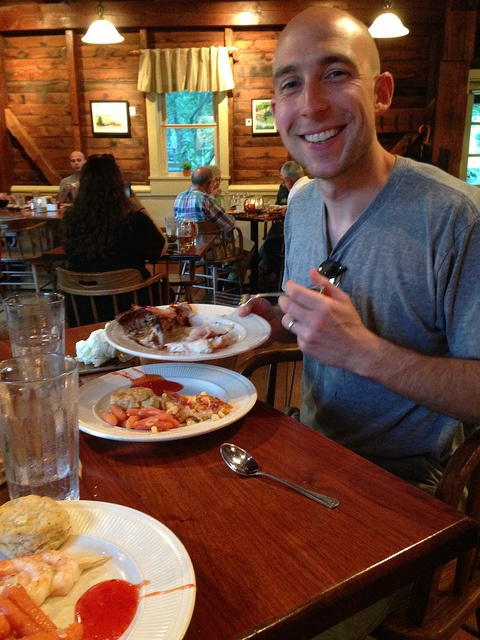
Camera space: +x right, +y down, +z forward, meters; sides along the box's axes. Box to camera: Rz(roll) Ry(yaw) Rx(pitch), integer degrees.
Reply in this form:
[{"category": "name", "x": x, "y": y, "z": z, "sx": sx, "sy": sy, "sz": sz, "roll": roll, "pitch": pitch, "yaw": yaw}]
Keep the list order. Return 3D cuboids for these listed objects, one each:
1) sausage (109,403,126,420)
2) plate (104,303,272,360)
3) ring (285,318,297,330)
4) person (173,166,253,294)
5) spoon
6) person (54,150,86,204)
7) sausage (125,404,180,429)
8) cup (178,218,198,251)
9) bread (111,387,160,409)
[{"category": "sausage", "x": -0.198, "y": 0.147, "z": 0.823, "sx": 0.015, "sy": 0.010, "sz": 0.030, "roll": -28, "pitch": 41, "yaw": -21}, {"category": "plate", "x": -0.083, "y": 0.031, "z": 1.008, "sx": 0.213, "sy": 0.024, "sz": 0.191, "roll": 2, "pitch": 21, "yaw": 0}, {"category": "ring", "x": 0.094, "y": 0.008, "z": 0.944, "sx": 0.005, "sy": 0.020, "sz": 0.020, "roll": 25, "pitch": 51, "yaw": -8}, {"category": "person", "x": -0.303, "y": -0.962, "z": 5.086, "sx": 0.709, "sy": 1.038, "sz": 0.584, "roll": -5, "pitch": 24, "yaw": -24}, {"category": "spoon", "x": 0.041, "y": 0.202, "z": 0.708, "sx": 0.052, "sy": 0.029, "sz": 0.219, "roll": -12, "pitch": 17, "yaw": -38}, {"category": "person", "x": -2.056, "y": -1.716, "z": 6.374, "sx": 0.505, "sy": 0.737, "sz": 0.424, "roll": -2, "pitch": -7, "yaw": -10}, {"category": "sausage", "x": -0.144, "y": 0.152, "z": 0.798, "sx": 0.050, "sy": 0.013, "sz": 0.040, "roll": 13, "pitch": 9, "yaw": -2}, {"category": "cup", "x": -0.380, "y": -0.590, "z": 3.561, "sx": 0.113, "sy": 0.219, "sz": 0.228, "roll": -1, "pitch": 13, "yaw": -8}, {"category": "bread", "x": -0.177, "y": 0.128, "z": 0.852, "sx": 0.059, "sy": 0.017, "sz": 0.040, "roll": 3, "pitch": 7, "yaw": 3}]
